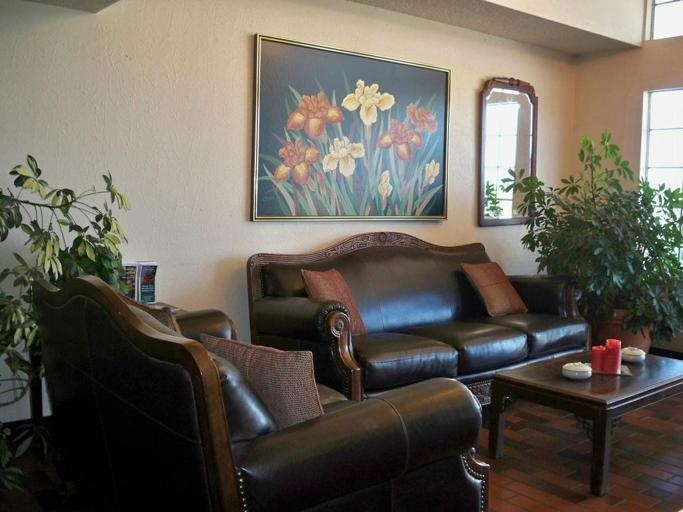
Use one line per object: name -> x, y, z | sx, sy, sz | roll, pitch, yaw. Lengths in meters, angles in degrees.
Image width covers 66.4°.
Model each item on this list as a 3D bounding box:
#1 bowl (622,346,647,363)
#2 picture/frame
bowl -> 1.890, 0.627, 3.403 | 0.108, 0.077, 0.112 | 4, 7, 0
picture/frame -> 0.014, -1.049, 4.223 | 1.708, 1.222, 0.067 | 0, 1, -32
